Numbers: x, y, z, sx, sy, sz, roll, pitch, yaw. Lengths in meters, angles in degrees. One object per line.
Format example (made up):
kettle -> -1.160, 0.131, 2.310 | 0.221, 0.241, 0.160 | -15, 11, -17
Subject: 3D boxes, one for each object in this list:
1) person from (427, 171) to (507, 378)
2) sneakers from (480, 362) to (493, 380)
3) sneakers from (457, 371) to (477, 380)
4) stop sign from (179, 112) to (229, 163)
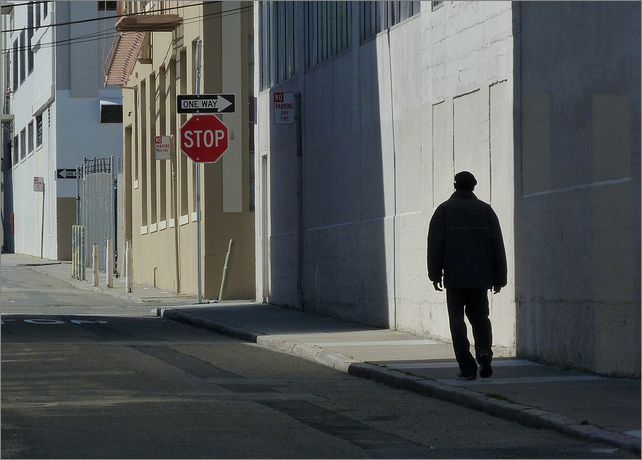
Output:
person -> 2.017, 0.573, 18.530 | 1.066, 2.871, 0.342 | 0, -6, 4
sneakers -> 2.263, 1.879, 18.390 | 0.153, 0.228, 0.266 | 0, -7, 6
sneakers -> 2.006, 1.960, 18.431 | 0.263, 0.128, 0.221 | 0, -7, 7
stop sign -> -2.419, -2.023, 28.722 | 1.279, 1.235, 0.215 | -1, -3, -33
